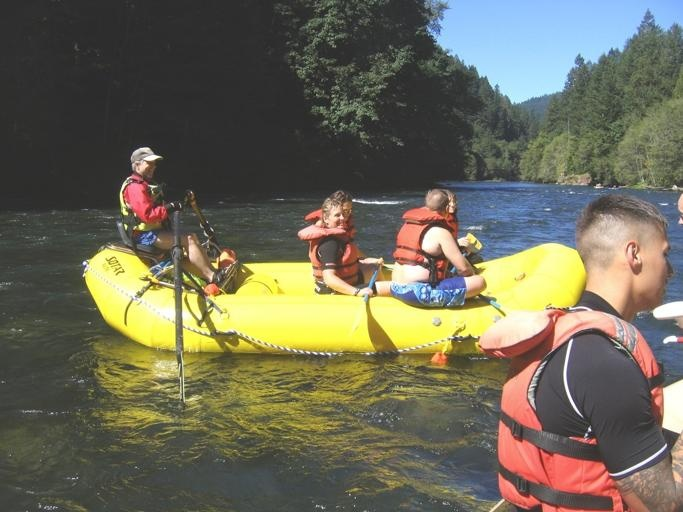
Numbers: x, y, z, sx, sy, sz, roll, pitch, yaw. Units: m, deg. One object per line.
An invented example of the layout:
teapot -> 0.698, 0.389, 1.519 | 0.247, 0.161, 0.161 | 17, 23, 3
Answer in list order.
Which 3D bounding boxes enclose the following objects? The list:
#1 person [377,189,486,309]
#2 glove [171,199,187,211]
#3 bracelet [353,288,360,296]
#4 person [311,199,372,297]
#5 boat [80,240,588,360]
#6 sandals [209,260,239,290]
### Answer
person -> 0.760, -0.070, 6.534 | 1.133, 1.026, 0.645 | 5, 6, 40
glove -> -1.536, -0.465, 6.845 | 0.151, 0.073, 0.190 | 4, 2, 5
bracelet -> 0.141, 0.318, 6.415 | 0.040, 0.015, 0.054 | -16, 24, 38
person -> -0.019, -0.080, 6.494 | 0.660, 0.960, 0.555 | 4, 10, 5
boat -> -0.252, 0.526, 6.699 | 3.152, 0.767, 1.841 | -1, 2, 0
sandals -> -1.094, 0.195, 6.959 | 0.151, 0.119, 0.334 | 31, 48, 9
